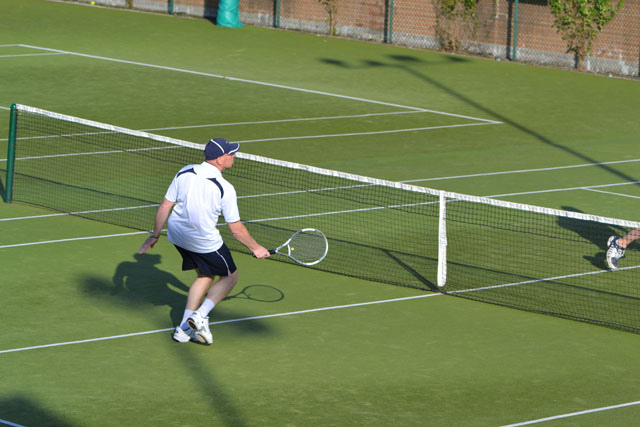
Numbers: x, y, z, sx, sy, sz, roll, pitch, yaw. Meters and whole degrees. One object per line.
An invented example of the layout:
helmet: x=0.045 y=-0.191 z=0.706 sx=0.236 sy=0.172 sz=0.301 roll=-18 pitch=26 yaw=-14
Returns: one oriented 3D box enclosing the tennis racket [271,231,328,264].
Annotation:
tennis racket: x=-0.291 y=0.517 z=15.649 sx=0.853 sy=0.487 sz=0.624 roll=1 pitch=-8 yaw=0
